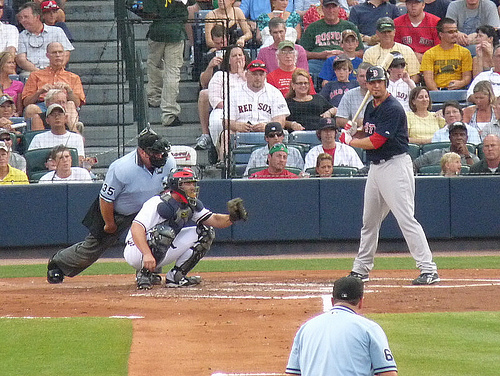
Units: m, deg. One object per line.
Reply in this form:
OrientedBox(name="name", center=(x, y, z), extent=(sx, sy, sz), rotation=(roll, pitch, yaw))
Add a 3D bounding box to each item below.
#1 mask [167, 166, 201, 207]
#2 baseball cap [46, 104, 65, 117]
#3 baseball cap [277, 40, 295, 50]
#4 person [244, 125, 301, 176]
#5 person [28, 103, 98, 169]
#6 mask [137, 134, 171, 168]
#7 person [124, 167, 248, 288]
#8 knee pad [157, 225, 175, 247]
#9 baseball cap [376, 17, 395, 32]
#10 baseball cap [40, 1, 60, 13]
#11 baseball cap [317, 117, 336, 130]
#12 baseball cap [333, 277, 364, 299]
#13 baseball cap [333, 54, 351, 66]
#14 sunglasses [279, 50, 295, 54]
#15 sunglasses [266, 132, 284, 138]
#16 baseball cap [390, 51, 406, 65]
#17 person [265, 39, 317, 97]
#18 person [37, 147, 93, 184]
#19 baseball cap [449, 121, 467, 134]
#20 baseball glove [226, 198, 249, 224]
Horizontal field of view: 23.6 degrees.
OrientedBox(name="mask", center=(-0.909, 0.006, 16.200), extent=(0.412, 0.529, 0.256), rotation=(1, 5, -5))
OrientedBox(name="baseball cap", center=(-3.163, -1.252, 19.501), extent=(0.285, 0.210, 0.241), rotation=(1, 4, -8))
OrientedBox(name="baseball cap", center=(0.647, -2.506, 21.051), extent=(0.293, 0.169, 0.306), rotation=(1, 4, -2))
OrientedBox(name="person", center=(0.360, -0.564, 19.573), extent=(0.884, 0.719, 0.255), rotation=(1, 7, -6))
OrientedBox(name="person", center=(-3.143, -0.819, 19.564), extent=(1.298, 1.103, 0.780), rotation=(-1, -3, -3))
OrientedBox(name="mask", center=(-1.321, -0.529, 16.468), extent=(0.353, 0.468, 0.322), rotation=(-8, 13, -21))
OrientedBox(name="person", center=(-0.972, 0.561, 16.579), extent=(1.469, 1.694, 1.020), rotation=(0, 5, -15))
OrientedBox(name="knee pad", center=(-1.146, 0.659, 16.253), extent=(0.217, 0.281, 0.074), rotation=(0, 5, -17))
OrientedBox(name="baseball cap", center=(2.453, -2.941, 21.609), extent=(0.294, 0.273, 0.327), rotation=(1, 4, 3))
OrientedBox(name="baseball cap", center=(-3.728, -3.356, 22.230), extent=(0.365, 0.156, 0.473), rotation=(-7, 10, -22))
OrientedBox(name="baseball cap", center=(1.251, -1.030, 19.440), extent=(0.302, 0.201, 0.273), rotation=(1, 4, 2))
OrientedBox(name="baseball cap", center=(1.043, 1.068, 12.687), extent=(0.317, 0.210, 0.212), rotation=(1, 4, 4))
OrientedBox(name="baseball cap", center=(1.623, -2.251, 21.143), extent=(0.302, 0.217, 0.333), rotation=(1, 4, 4))
OrientedBox(name="sunglasses", center=(0.660, -2.375, 21.000), extent=(0.255, 0.058, 0.090), rotation=(1, 4, -8))
OrientedBox(name="sunglasses", center=(0.395, -0.845, 19.345), extent=(0.260, 0.089, 0.095), rotation=(1, 4, 0))
OrientedBox(name="baseball cap", center=(2.541, -2.222, 20.601), extent=(0.251, 0.175, 0.328), rotation=(-3, 6, -14))
OrientedBox(name="person", center=(0.695, -2.079, 21.153), extent=(1.234, 1.054, 0.670), rotation=(-2, 3, -7))
OrientedBox(name="person", center=(-3.003, -0.301, 19.291), extent=(0.996, 0.717, 0.468), rotation=(-5, 5, -30))
OrientedBox(name="baseball cap", center=(3.307, -0.965, 19.271), extent=(0.235, 0.169, 0.332), rotation=(-1, -7, 2))
OrientedBox(name="baseball glove", center=(-0.172, 0.324, 16.360), extent=(0.264, 0.359, 0.305), rotation=(1, 4, 0))
